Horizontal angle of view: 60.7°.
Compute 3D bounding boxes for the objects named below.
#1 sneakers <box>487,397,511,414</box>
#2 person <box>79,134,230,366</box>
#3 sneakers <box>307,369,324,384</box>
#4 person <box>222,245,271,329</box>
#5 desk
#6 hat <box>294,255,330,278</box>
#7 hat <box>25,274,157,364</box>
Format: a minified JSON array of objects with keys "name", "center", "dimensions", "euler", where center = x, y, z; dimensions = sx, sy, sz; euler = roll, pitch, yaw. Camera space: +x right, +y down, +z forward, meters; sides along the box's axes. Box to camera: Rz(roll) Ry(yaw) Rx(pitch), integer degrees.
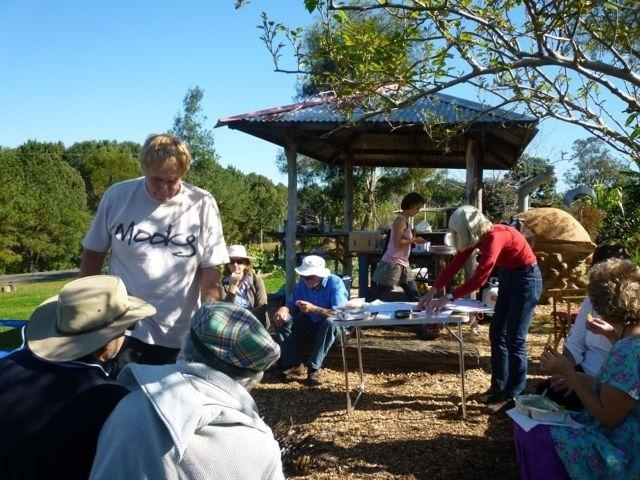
[{"name":"sneakers","center":[1.690,1.548,5.119],"dimensions":[0.265,0.120,0.093],"euler":[-2,-5,-4]},{"name":"person","center":[-1.167,0.436,3.765],"dimensions":[0.924,2.280,0.606],"euler":[4,11,-7]},{"name":"sneakers","center":[-0.062,1.540,6.159],"dimensions":[0.167,0.178,0.107],"euler":[-3,-6,31]},{"name":"person","center":[-1.006,0.610,6.821],"dimensions":[0.548,1.061,0.761],"euler":[-1,8,14]},{"name":"desk","center":[0.748,0.903,5.320],"dimensions":[1.280,1.025,1.078],"euler":[-1,-2,9]},{"name":"hat","center":[-0.151,0.345,7.326],"dimensions":[0.463,0.226,0.557],"euler":[3,-5,7]},{"name":"hat","center":[-1.231,0.346,2.929],"dimensions":[0.557,0.251,0.713],"euler":[9,19,14]}]
